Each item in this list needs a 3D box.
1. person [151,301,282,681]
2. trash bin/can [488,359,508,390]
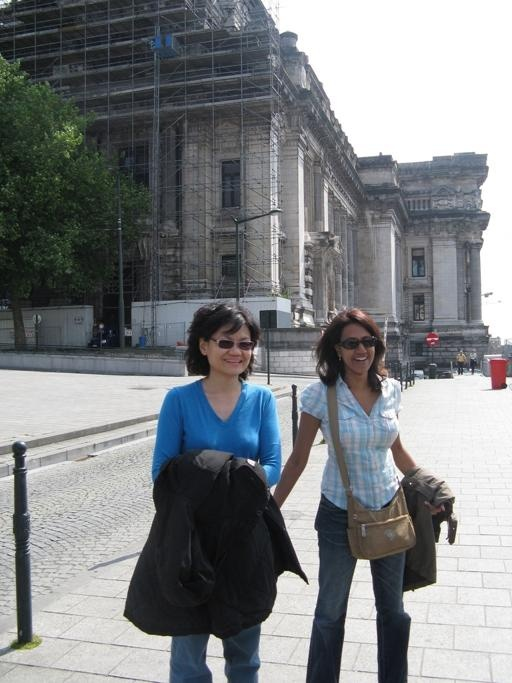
[{"bbox_3d":[-0.142,0.595,2.445,0.460,1.481,0.620,1,1,1],"label":"person"},{"bbox_3d":[10.347,1.401,28.192,0.629,1.278,1.649,1,2,22],"label":"trash bin/can"}]
